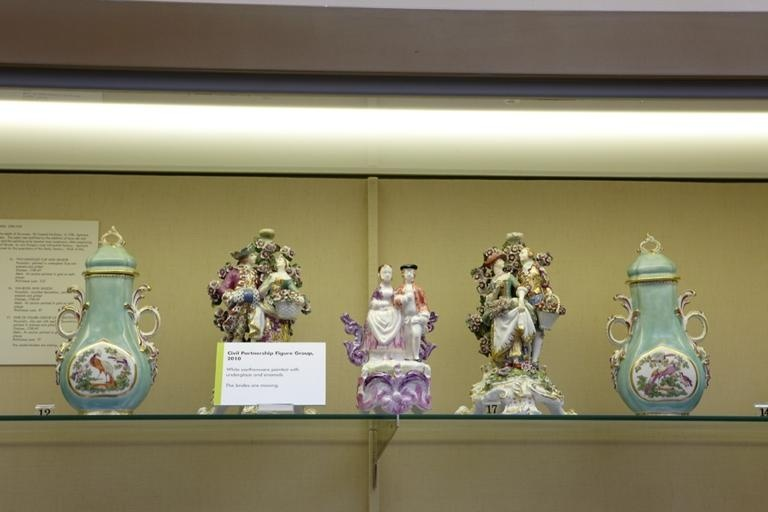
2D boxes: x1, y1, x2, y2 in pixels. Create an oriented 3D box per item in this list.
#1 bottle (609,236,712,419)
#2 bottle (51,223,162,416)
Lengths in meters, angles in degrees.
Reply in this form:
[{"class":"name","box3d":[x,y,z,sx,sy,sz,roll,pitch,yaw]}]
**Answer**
[{"class":"bottle","box3d":[0.958,0.264,6.709,0.348,0.588,0.176,1,-3,8]},{"class":"bottle","box3d":[-0.962,0.230,6.657,0.356,0.645,0.226,2,-3,-7]}]
